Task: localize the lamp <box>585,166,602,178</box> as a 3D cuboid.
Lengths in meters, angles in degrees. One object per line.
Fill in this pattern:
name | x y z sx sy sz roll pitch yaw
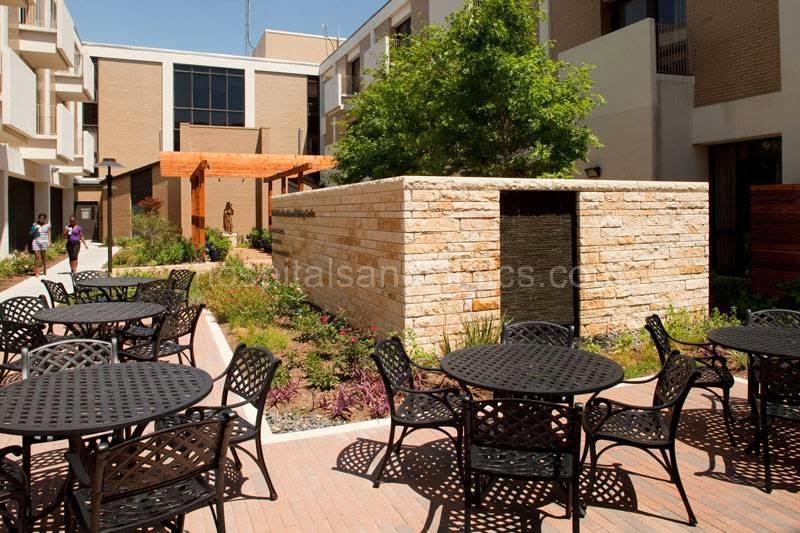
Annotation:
lamp | 5.275 -2.575 16.443 0.288 0.314 0.360 -1 0 -15
